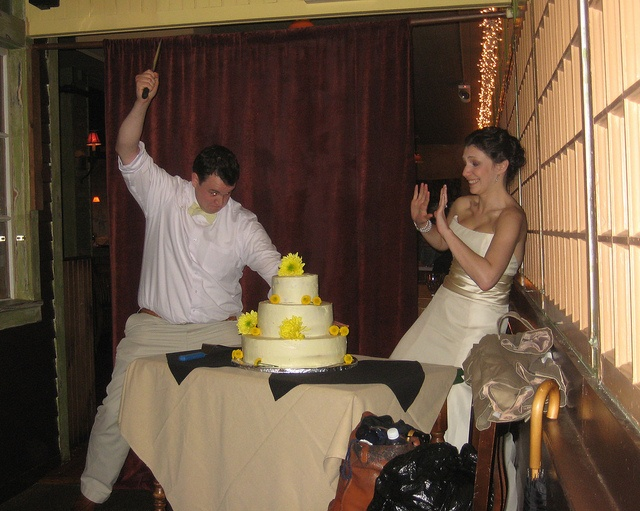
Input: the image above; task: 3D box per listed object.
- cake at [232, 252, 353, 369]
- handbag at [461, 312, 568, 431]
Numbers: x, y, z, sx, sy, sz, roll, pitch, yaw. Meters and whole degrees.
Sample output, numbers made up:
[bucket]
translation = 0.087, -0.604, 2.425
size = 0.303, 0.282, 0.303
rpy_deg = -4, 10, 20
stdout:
[cake]
translation = -0.132, 0.204, 2.630
size = 0.479, 0.517, 0.481
rpy_deg = 0, -1, -37
[handbag]
translation = 0.750, 0.433, 2.162
size = 0.266, 0.212, 0.472
rpy_deg = -13, 24, 14
